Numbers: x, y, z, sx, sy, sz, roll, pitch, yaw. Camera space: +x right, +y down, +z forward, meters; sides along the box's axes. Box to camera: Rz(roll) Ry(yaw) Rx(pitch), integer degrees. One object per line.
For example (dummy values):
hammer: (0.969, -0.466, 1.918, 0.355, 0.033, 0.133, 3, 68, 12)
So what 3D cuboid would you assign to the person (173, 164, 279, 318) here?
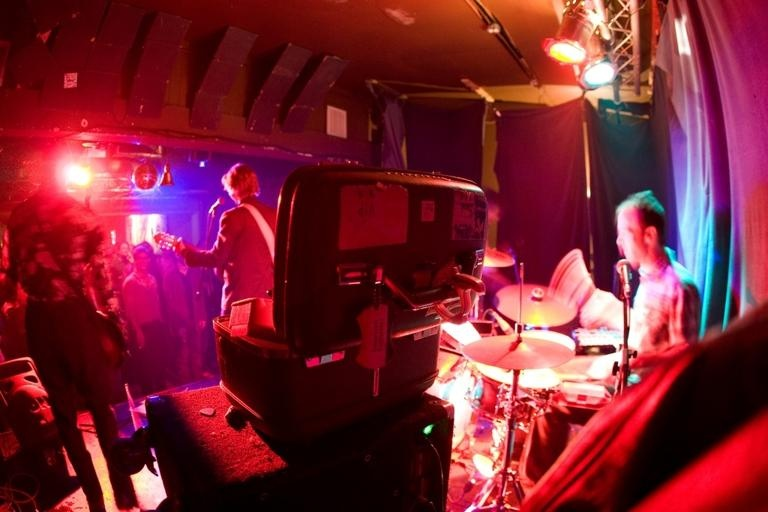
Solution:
person: (-1.342, -0.142, 5.013, 0.771, 1.114, 0.312, -7, 3, -17)

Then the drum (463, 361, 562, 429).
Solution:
drum: (1.062, 1.112, 4.740, 0.638, 0.237, 0.629, 10, 7, -1)

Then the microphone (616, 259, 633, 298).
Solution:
microphone: (1.754, 0.154, 4.148, 0.096, 0.273, 0.467, -4, 4, 22)

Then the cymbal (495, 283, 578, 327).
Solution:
cymbal: (1.403, 0.483, 5.352, 0.550, 0.129, 0.563, 22, 37, 25)

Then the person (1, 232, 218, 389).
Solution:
person: (-2.478, 0.473, 5.036, 0.513, 1.634, 1.235, 0, 1, 31)

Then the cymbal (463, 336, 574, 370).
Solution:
cymbal: (0.992, 0.716, 4.217, 0.401, 0.097, 0.411, 2, 19, 2)

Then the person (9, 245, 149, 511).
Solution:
person: (-2.438, 0.876, 4.552, 0.698, 2.187, 1.013, -8, 4, -38)
